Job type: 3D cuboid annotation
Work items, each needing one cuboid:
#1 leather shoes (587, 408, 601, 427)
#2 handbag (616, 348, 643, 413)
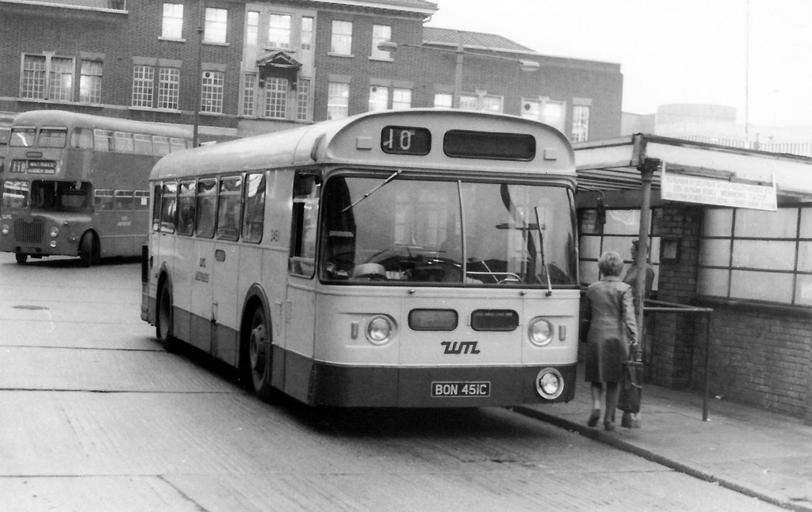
[{"bbox_3d":[2.696,2.343,11.773,0.124,0.166,0.386,3,-22,3],"label":"leather shoes"},{"bbox_3d":[3.163,1.776,11.621,0.321,0.983,0.337,4,5,26],"label":"handbag"}]
